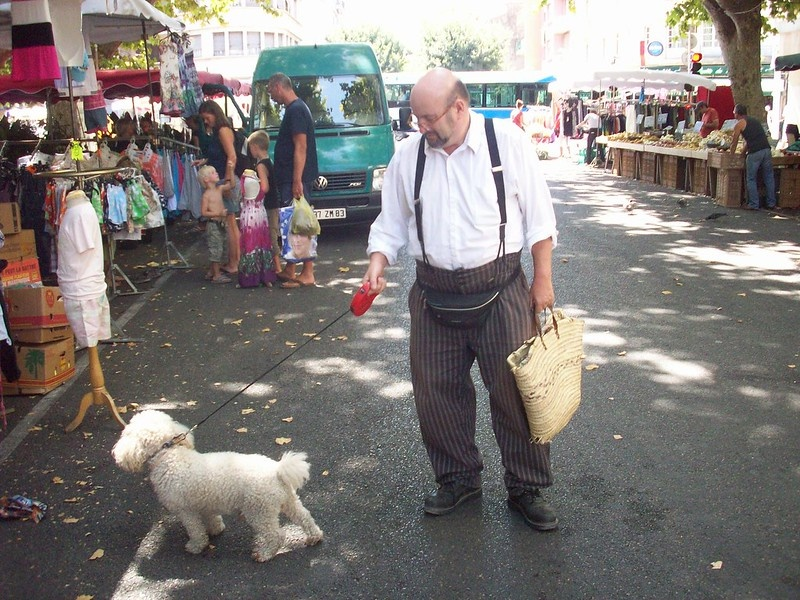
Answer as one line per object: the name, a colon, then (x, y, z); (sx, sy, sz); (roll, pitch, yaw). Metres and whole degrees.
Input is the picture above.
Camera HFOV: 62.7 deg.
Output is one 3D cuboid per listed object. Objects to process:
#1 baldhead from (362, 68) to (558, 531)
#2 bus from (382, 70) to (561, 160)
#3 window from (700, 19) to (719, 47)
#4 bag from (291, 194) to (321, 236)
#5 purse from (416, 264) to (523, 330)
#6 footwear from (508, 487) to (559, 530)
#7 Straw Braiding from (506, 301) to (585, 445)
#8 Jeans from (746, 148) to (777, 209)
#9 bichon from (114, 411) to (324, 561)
baldhead: (0.353, 0.067, 4.157); (1.082, 2.795, 1.324); (4, 17, -4)
bus: (4.487, -12.090, 44.830); (11.579, 5.776, 4.073); (1, -9, 4)
window: (19.499, -16.643, 41.374); (0.932, 1.398, 1.094); (-14, 19, -35)
bag: (-1.378, -1.312, 9.335); (0.387, 0.593, 0.293); (0, 49, -4)
purse: (0.403, -0.003, 3.899); (0.587, 0.320, 0.181); (0, 16, 10)
footwear: (0.812, 1.256, 4.064); (0.140, 0.165, 0.325); (-14, 17, -33)
Straw Braiding: (0.899, 0.414, 3.889); (0.624, 0.749, 0.160); (-31, 21, -37)
Jeans: (8.123, -2.737, 14.773); (0.669, 1.315, 0.440); (5, 17, 24)
bichon: (-1.072, 1.055, 3.846); (1.184, 0.847, 0.401); (3, 14, 8)
